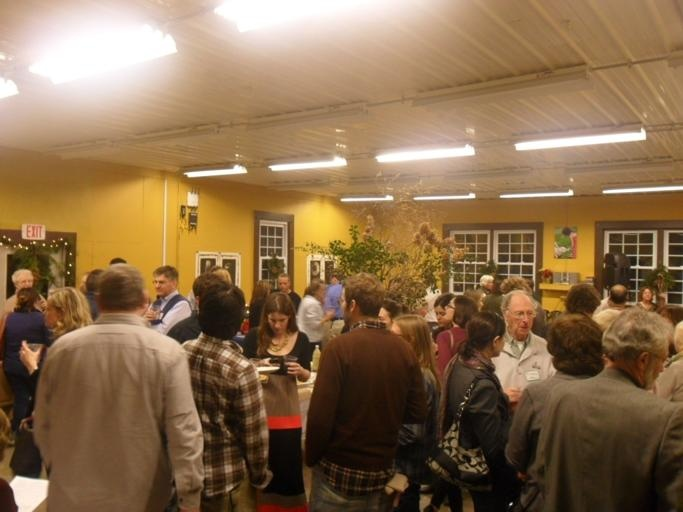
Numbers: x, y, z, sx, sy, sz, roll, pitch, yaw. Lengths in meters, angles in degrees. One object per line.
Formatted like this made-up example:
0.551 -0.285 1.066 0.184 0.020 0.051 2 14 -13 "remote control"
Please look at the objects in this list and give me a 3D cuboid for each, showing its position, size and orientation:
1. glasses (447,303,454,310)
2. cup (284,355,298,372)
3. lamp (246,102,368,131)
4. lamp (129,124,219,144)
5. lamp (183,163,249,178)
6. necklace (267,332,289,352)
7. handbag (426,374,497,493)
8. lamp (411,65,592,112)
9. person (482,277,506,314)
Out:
1.172 0.542 5.717 0.066 0.053 0.068 0 1 -12 "glasses"
-0.341 0.741 3.645 0.087 0.096 0.088 2 -4 0 "cup"
-0.447 -1.703 6.553 1.716 0.129 0.295 0 -2 28 "lamp"
-2.351 -1.695 7.506 1.697 0.106 0.366 0 -2 29 "lamp"
-2.175 -1.602 10.088 1.105 0.222 0.112 -3 3 23 "lamp"
-0.531 0.754 4.679 0.162 0.168 0.065 6 -7 1 "necklace"
0.840 1.129 3.386 0.414 0.651 0.311 -21 7 40 "handbag"
1.624 -1.561 5.258 1.324 0.148 0.233 -11 -35 37 "lamp"
2.244 0.577 7.872 0.242 0.250 0.769 15 41 18 "person"
